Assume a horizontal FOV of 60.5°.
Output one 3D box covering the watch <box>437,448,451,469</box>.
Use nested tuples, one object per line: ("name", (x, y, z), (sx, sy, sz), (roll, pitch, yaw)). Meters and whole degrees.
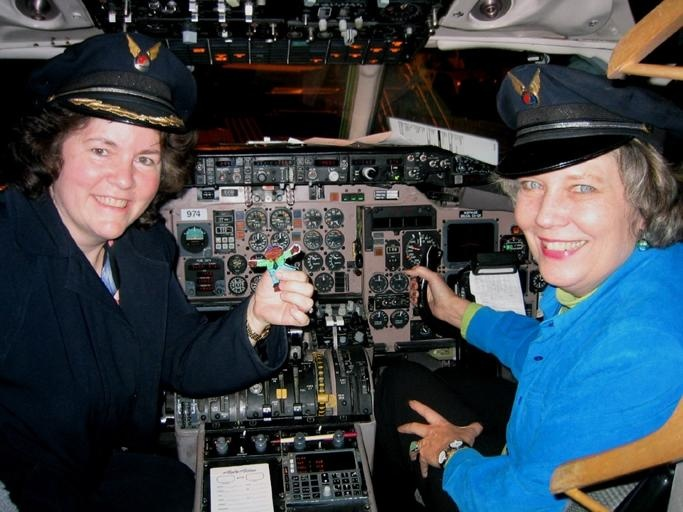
("watch", (0.482, 0.948, 2.752), (0.030, 0.082, 0.084), (28, 22, -10))

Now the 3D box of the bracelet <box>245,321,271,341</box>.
("bracelet", (-0.399, 0.368, 2.764), (0.099, 0.096, 0.044), (1, 26, -25))

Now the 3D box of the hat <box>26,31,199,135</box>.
("hat", (-1.082, -0.826, 2.700), (0.769, 0.314, 0.755), (7, 12, -20))
